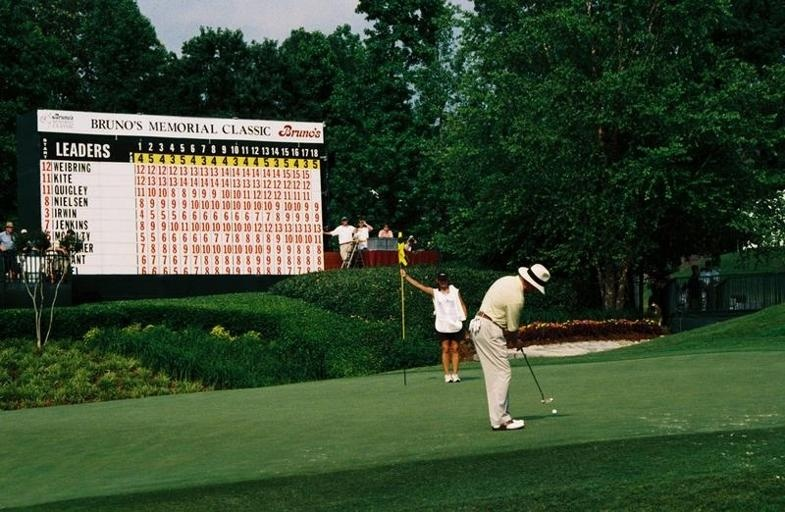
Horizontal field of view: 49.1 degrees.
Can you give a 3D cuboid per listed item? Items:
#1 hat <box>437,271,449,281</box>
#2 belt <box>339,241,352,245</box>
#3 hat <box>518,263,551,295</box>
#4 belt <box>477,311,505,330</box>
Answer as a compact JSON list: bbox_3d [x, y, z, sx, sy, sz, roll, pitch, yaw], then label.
[{"bbox_3d":[1.480,0.579,25.287,0.352,0.167,0.500,0,-1,-3],"label":"hat"},{"bbox_3d":[-2.024,-0.586,37.472,0.520,0.160,0.110,-3,10,6],"label":"belt"},{"bbox_3d":[3.062,0.416,18.298,0.631,0.349,0.627,36,30,-3],"label":"hat"},{"bbox_3d":[2.109,1.388,18.361,0.464,0.145,0.351,31,-4,-6],"label":"belt"}]
